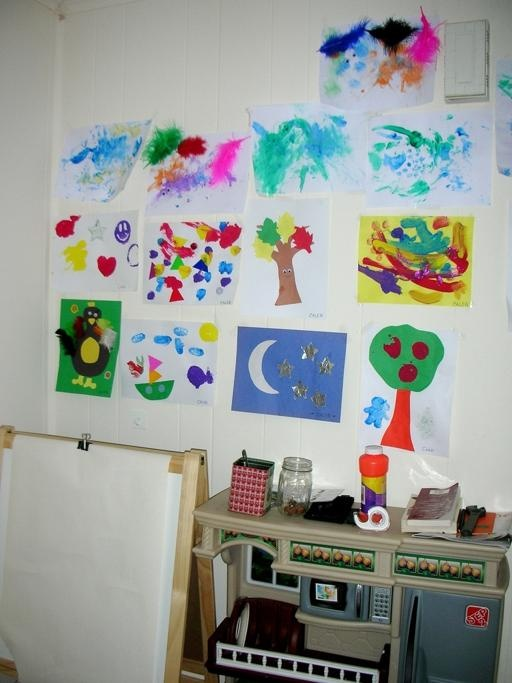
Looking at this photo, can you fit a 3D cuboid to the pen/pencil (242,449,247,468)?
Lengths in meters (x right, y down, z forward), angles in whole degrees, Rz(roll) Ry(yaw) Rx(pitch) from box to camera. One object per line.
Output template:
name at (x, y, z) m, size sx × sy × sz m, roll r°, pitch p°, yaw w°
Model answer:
pen/pencil at (-0.028, 0.323, 1.622) m, size 0.009 × 0.050 × 0.005 m, roll 0°, pitch -29°, yaw -7°

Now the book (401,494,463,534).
book at (0.402, 0.407, 1.386) m, size 0.077 × 0.021 × 0.089 m, roll -8°, pitch 15°, yaw 33°

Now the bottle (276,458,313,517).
bottle at (0.106, 0.392, 1.565) m, size 0.117 × 0.197 × 0.114 m, roll 2°, pitch -13°, yaw 0°
